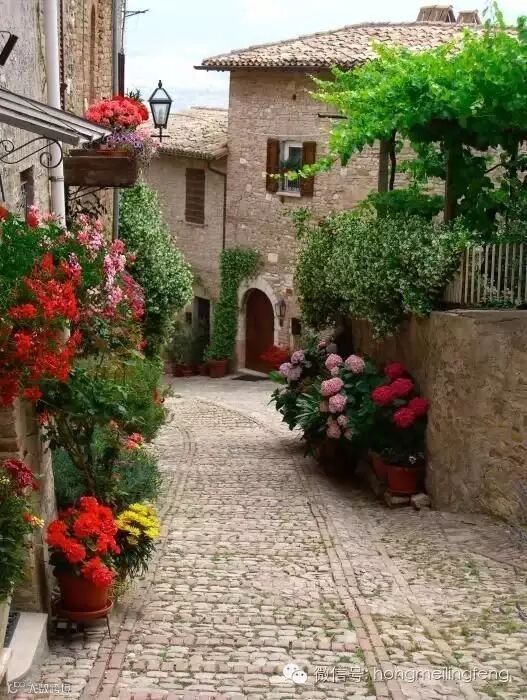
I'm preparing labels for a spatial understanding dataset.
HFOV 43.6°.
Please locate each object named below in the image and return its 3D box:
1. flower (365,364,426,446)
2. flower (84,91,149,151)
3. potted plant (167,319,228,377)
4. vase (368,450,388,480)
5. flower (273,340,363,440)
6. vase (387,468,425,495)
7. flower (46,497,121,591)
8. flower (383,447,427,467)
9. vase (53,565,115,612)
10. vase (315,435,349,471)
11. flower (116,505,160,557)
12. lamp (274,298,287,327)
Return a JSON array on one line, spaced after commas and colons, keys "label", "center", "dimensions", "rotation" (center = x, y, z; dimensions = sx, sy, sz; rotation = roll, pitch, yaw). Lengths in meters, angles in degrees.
[{"label": "flower", "center": [1.553, 0.560, 7.690], "dimensions": [0.647, 0.257, 0.723], "rotation": [17, 32, 40]}, {"label": "flower", "center": [-1.842, -2.825, 8.305], "dimensions": [0.702, 0.644, 0.644], "rotation": [-15, 26, 2]}, {"label": "potted plant", "center": [-2.268, 0.046, 20.189], "dimensions": [2.344, 2.427, 1.642], "rotation": [0, -1, -9]}, {"label": "vase", "center": [1.402, 1.418, 8.085], "dimensions": [0.339, 0.281, 0.301], "rotation": [0, -2, -4]}, {"label": "flower", "center": [0.776, 0.546, 9.167], "dimensions": [0.965, 1.276, 2.437], "rotation": [2, -1, -4]}, {"label": "vase", "center": [1.631, 1.489, 7.598], "dimensions": [0.394, 0.265, 0.375], "rotation": [3, 3, 20]}, {"label": "flower", "center": [-1.039, 1.148, 3.820], "dimensions": [0.395, 0.533, 0.379], "rotation": [2, -1, -9]}, {"label": "flower", "center": [1.588, 1.234, 7.563], "dimensions": [0.286, 0.106, 0.266], "rotation": [0, 6, -2]}, {"label": "vase", "center": [-1.043, 1.410, 3.817], "dimensions": [0.323, 0.178, 0.302], "rotation": [6, -7, -18]}, {"label": "vase", "center": [0.902, 1.435, 8.985], "dimensions": [0.466, 0.292, 0.409], "rotation": [2, 1, 25]}, {"label": "flower", "center": [-0.836, 1.181, 4.313], "dimensions": [0.322, 0.286, 0.299], "rotation": [-2, 12, -17]}, {"label": "lamp", "center": [0.458, -1.021, 17.882], "dimensions": [0.285, 0.722, 0.388], "rotation": [2, -1, -20]}]
